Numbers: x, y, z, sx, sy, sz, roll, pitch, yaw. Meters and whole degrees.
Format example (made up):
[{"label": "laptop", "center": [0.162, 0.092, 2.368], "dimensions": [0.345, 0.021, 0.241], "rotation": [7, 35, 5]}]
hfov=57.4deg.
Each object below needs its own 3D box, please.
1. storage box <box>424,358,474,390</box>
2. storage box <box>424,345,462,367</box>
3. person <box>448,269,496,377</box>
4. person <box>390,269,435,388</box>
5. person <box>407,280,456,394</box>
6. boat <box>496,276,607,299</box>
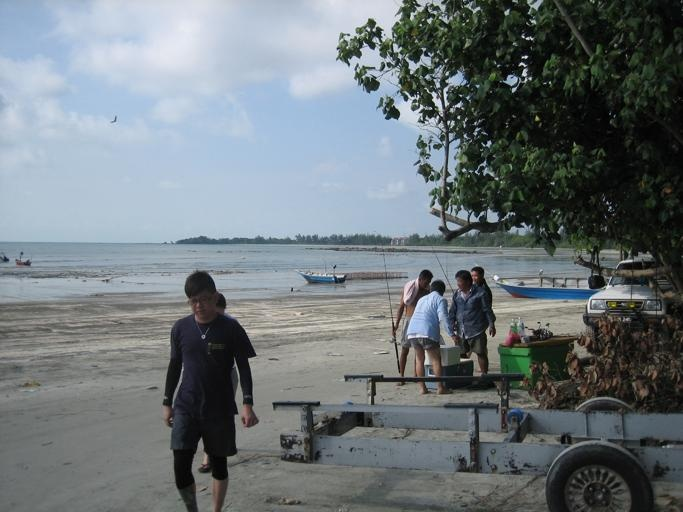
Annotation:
[{"label": "storage box", "center": [1.731, 1.945, 10.229], "dimensions": [0.517, 0.488, 0.970], "rotation": [-5, -7, 43]}, {"label": "storage box", "center": [1.877, 1.733, 10.979], "dimensions": [0.419, 0.278, 0.436], "rotation": [-3, -5, 24]}, {"label": "person", "center": [2.432, 1.163, 11.482], "dimensions": [0.847, 2.102, 0.855], "rotation": [0, 3, 25]}, {"label": "person", "center": [1.158, 1.452, 11.579], "dimensions": [0.819, 2.353, 0.785], "rotation": [5, 5, 33]}, {"label": "person", "center": [1.585, 1.310, 10.754], "dimensions": [0.959, 1.937, 0.597], "rotation": [0, 0, -41]}, {"label": "boat", "center": [10.864, 1.732, 33.191], "dimensions": [5.571, 1.569, 1.726], "rotation": [1, -6, 28]}]
